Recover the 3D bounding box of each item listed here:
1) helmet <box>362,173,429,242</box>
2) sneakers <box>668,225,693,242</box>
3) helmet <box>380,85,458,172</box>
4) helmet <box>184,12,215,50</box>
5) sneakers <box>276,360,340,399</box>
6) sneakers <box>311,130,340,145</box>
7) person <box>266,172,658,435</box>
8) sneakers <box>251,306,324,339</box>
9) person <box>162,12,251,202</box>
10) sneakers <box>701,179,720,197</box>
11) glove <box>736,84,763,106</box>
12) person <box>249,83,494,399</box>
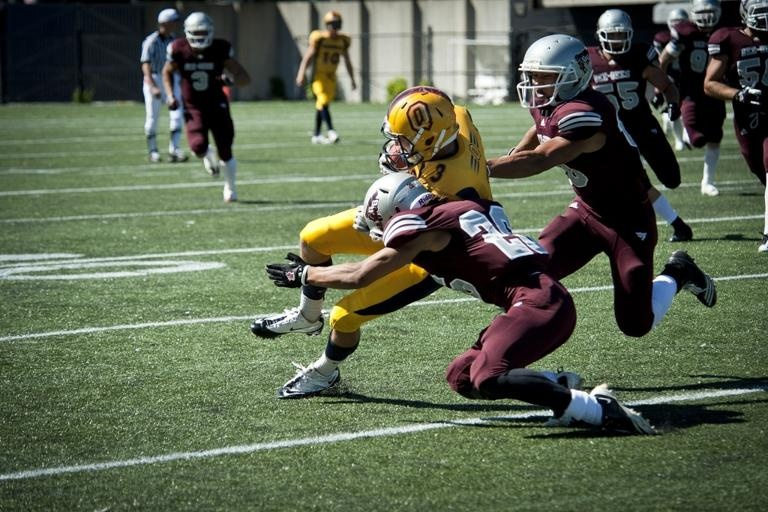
[{"bbox_3d":[0.019,-0.293,4.861,0.459,0.326,0.325,-4,13,20],"label":"helmet"},{"bbox_3d":[2.679,-0.198,7.890,0.232,0.199,0.121,3,8,15],"label":"sneakers"},{"bbox_3d":[0.221,-0.746,5.100,0.545,0.403,0.369,-10,21,-9],"label":"helmet"},{"bbox_3d":[-2.050,-2.493,9.810,0.307,0.421,0.309,-2,8,-12],"label":"helmet"},{"bbox_3d":[-0.444,0.729,5.189,0.357,0.130,0.172,-5,26,-8],"label":"sneakers"},{"bbox_3d":[-1.045,-1.982,15.031,0.674,0.260,0.215,2,9,15],"label":"sneakers"},{"bbox_3d":[0.509,0.232,5.034,2.418,1.306,1.105,2,-4,33],"label":"person"},{"bbox_3d":[-0.572,0.396,5.474,0.517,0.206,0.170,3,21,1],"label":"sneakers"},{"bbox_3d":[-1.999,-1.664,9.904,0.903,2.126,1.243,-3,8,-13],"label":"person"},{"bbox_3d":[3.694,-0.768,9.957,0.098,0.124,0.226,-22,27,-27],"label":"sneakers"},{"bbox_3d":[3.043,-1.330,7.284,0.192,0.070,0.131,18,-19,-32],"label":"glove"},{"bbox_3d":[-0.014,-0.078,5.408,1.704,1.978,0.945,-8,36,-12],"label":"person"}]
